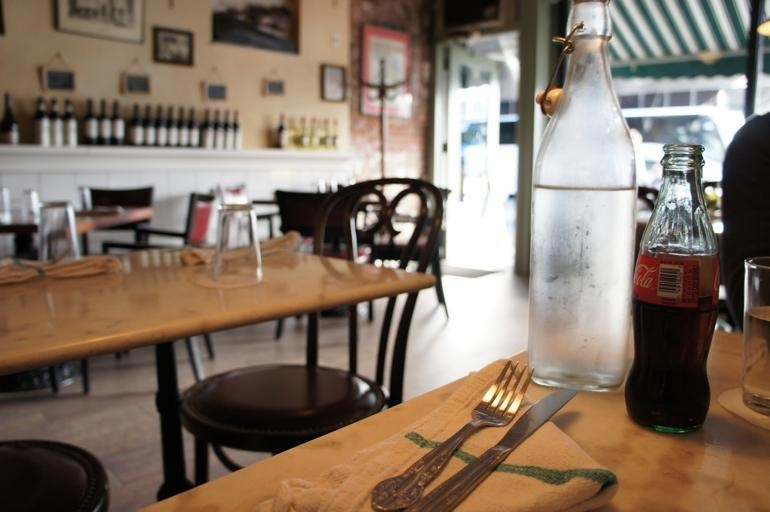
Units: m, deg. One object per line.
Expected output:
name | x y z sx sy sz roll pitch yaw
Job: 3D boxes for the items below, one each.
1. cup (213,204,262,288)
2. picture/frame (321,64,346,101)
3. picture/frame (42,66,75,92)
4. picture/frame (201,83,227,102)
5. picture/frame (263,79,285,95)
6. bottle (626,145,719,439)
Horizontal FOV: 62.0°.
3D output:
cup | -0.352 -0.036 1.506 0.120 0.183 0.240 -2 8 -11
picture/frame | -0.487 -1.632 6.063 0.034 0.306 0.379 9 15 32
picture/frame | -2.300 -1.241 4.545 0.143 0.178 0.281 5 10 33
picture/frame | -1.418 -1.343 5.263 0.175 0.115 0.019 -10 13 -42
picture/frame | -0.987 -1.479 5.599 0.169 0.112 0.023 -5 13 -44
bottle | 0.389 0.042 0.864 0.105 0.381 0.080 4 9 26
